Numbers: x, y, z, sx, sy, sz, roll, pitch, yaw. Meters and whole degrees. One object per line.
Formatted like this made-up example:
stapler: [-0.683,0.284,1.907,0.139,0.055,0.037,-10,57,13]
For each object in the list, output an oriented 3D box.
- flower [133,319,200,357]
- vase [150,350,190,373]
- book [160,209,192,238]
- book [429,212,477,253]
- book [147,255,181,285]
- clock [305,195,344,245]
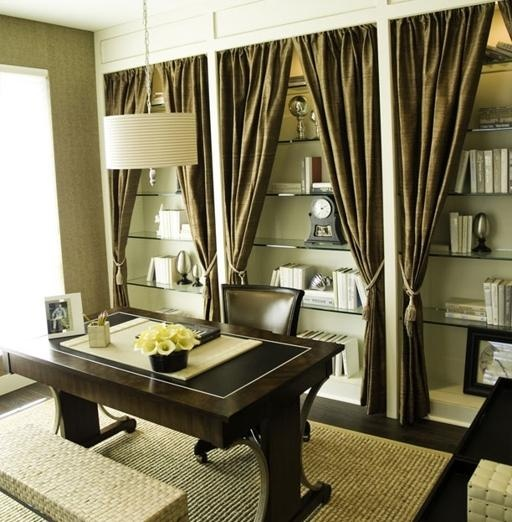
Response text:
flower: [-0.364,0.322,1.918,0.255,0.119,0.161,-3,9,-5]
vase: [-0.344,0.413,1.910,0.102,0.055,0.113,-2,1,-18]
book: [-0.696,-0.336,4.299,0.246,0.342,0.334,4,9,30]
book: [1.268,-0.155,3.072,0.221,0.306,0.310,3,6,26]
book: [-0.841,0.066,4.485,0.238,0.340,0.321,2,4,20]
clock: [0.497,-0.290,3.369,0.341,0.430,0.162,3,8,39]
